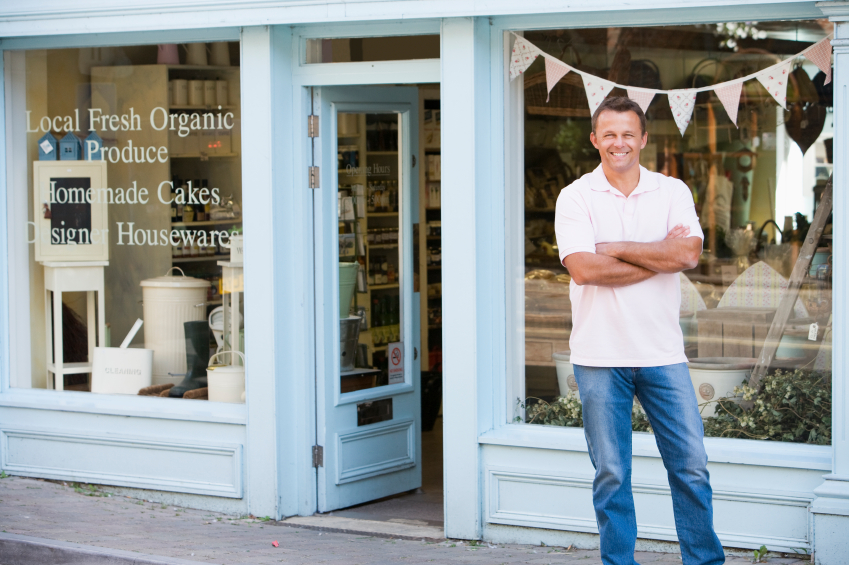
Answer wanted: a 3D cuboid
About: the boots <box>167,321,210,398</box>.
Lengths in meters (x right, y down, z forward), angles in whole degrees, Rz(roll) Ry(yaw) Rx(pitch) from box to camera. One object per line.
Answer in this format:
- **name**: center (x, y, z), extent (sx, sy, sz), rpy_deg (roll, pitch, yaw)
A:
- **boots**: center (-1.957, 0.626, 8.942), extent (0.224, 0.613, 0.420), rpy_deg (-3, 0, 37)
